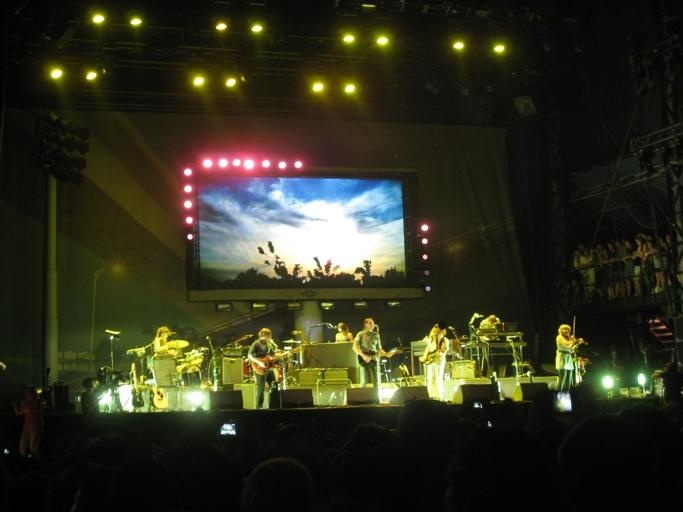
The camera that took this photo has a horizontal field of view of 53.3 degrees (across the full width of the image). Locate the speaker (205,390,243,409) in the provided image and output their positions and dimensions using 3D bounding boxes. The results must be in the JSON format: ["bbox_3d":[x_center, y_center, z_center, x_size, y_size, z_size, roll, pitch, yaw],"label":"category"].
[{"bbox_3d":[-1.892,2.338,11.209,0.538,0.296,0.346,1,-8,1],"label":"speaker"}]

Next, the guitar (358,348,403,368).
[{"bbox_3d":[0.667,1.997,13.349,0.820,0.335,0.422,3,-15,-17],"label":"guitar"}]

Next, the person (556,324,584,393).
[{"bbox_3d":[4.656,2.046,13.900,0.528,1.486,1.947,-6,-15,18],"label":"person"}]

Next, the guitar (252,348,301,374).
[{"bbox_3d":[-1.275,1.949,12.677,0.520,0.444,0.800,-13,-18,37],"label":"guitar"}]

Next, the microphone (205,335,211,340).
[{"bbox_3d":[-3.180,1.937,16.259,0.127,0.118,0.048,2,-14,-13],"label":"microphone"}]

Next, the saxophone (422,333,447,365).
[{"bbox_3d":[1.787,1.775,12.870,0.492,0.515,0.216,16,12,15],"label":"saxophone"}]
